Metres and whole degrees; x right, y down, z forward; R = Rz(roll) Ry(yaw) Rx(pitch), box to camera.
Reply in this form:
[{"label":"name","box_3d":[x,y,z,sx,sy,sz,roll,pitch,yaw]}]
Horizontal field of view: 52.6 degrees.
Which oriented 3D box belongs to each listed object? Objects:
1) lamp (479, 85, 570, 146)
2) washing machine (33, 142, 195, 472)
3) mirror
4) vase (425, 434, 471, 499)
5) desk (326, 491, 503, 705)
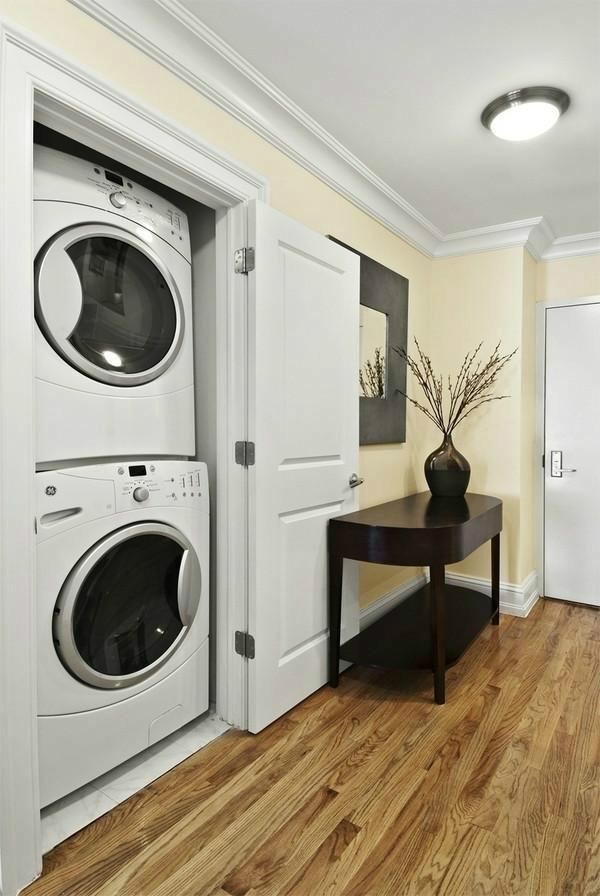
[{"label":"lamp","box_3d":[0.823,-1.177,2.153,0.237,0.067,0.268,-1,-2,5]},{"label":"washing machine","box_3d":[-0.635,-0.315,1.925,0.542,1.005,0.428,8,-18,-38]},{"label":"mirror","box_3d":[0.311,-0.502,2.790,0.019,1.073,0.954,2,5,30]},{"label":"vase","box_3d":[0.773,0.085,3.192,0.223,0.367,0.231,7,-8,-32]},{"label":"desk","box_3d":[0.504,0.216,2.553,0.528,0.856,1.201,1,6,26]}]
